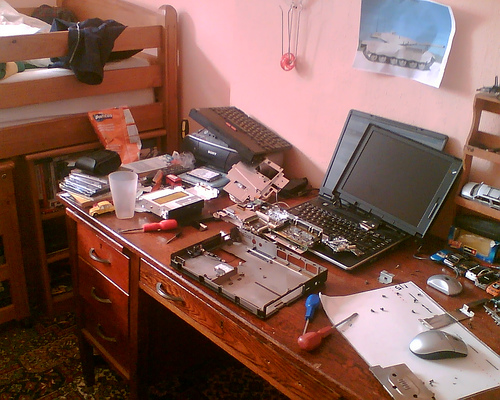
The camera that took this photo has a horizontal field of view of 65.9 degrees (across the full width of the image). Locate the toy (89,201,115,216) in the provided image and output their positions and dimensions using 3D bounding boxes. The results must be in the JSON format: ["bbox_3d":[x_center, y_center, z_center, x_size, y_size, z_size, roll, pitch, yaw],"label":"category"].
[{"bbox_3d":[-0.553,0.031,1.439,0.080,0.037,0.049,-12,37,-24],"label":"toy"}]

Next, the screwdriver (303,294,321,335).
[{"bbox_3d":[0.168,0.301,1.026,0.029,0.020,0.108,11,46,24],"label":"screwdriver"}]

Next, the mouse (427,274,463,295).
[{"bbox_3d":[0.581,0.246,1.136,0.051,0.022,0.072,-16,27,-29],"label":"mouse"}]

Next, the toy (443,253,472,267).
[{"bbox_3d":[0.673,0.182,1.259,0.065,0.020,0.049,-18,30,-28],"label":"toy"}]

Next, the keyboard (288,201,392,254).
[{"bbox_3d":[0.313,0.089,1.385,0.161,0.052,0.358,-19,43,-41],"label":"keyboard"}]

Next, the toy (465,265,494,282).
[{"bbox_3d":[0.701,0.221,1.183,0.065,0.019,0.045,-25,34,-33],"label":"toy"}]

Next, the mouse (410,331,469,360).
[{"bbox_3d":[0.454,0.351,0.926,0.110,0.037,0.066,-6,28,-7],"label":"mouse"}]

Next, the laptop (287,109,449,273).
[{"bbox_3d":[0.342,-0.058,1.359,0.511,0.366,0.462,-19,29,-30],"label":"laptop"}]

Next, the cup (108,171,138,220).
[{"bbox_3d":[-0.465,-0.012,1.411,0.102,0.153,0.107,5,26,-3],"label":"cup"}]

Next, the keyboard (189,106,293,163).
[{"bbox_3d":[-0.036,-0.322,1.748,0.389,0.106,0.344,31,36,27],"label":"keyboard"}]
